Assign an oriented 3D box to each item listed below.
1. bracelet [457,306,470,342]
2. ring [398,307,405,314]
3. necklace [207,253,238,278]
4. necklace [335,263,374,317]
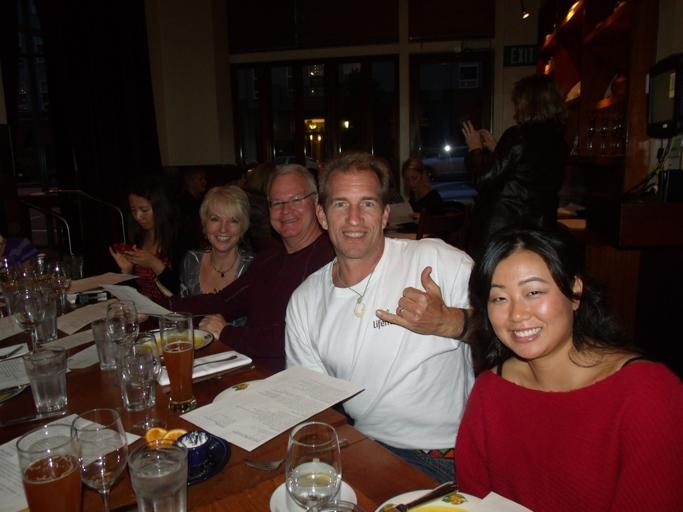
[{"bbox_3d":[0.449,0.249,1.853,0.021,0.091,0.090,7,19,8],"label":"bracelet"},{"bbox_3d":[0.202,0.191,1.758,0.015,0.022,0.007,1,-8,9],"label":"ring"},{"bbox_3d":[-0.658,0.071,2.919,0.115,0.173,0.040,1,-4,4],"label":"necklace"},{"bbox_3d":[0.057,0.138,1.939,0.110,0.170,0.041,-6,-20,21],"label":"necklace"}]
